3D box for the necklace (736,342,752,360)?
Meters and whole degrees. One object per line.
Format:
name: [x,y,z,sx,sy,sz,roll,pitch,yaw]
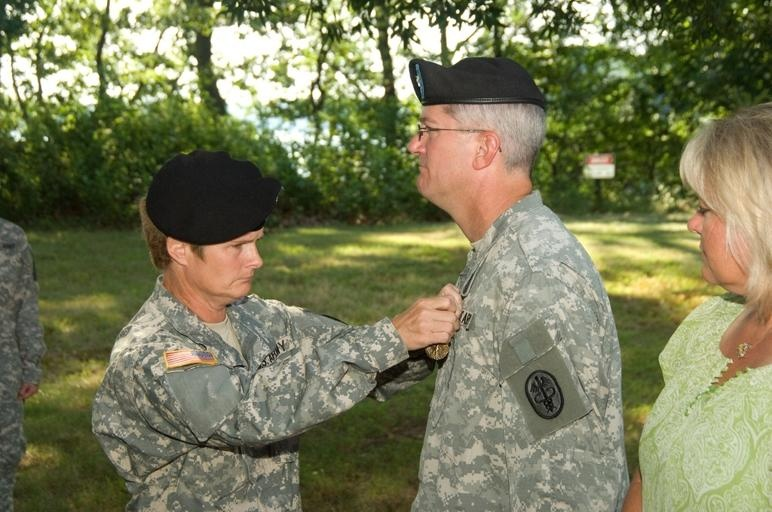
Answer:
necklace: [2.665,0.696,7.987,0.044,0.106,0.082,-5,50,-40]
